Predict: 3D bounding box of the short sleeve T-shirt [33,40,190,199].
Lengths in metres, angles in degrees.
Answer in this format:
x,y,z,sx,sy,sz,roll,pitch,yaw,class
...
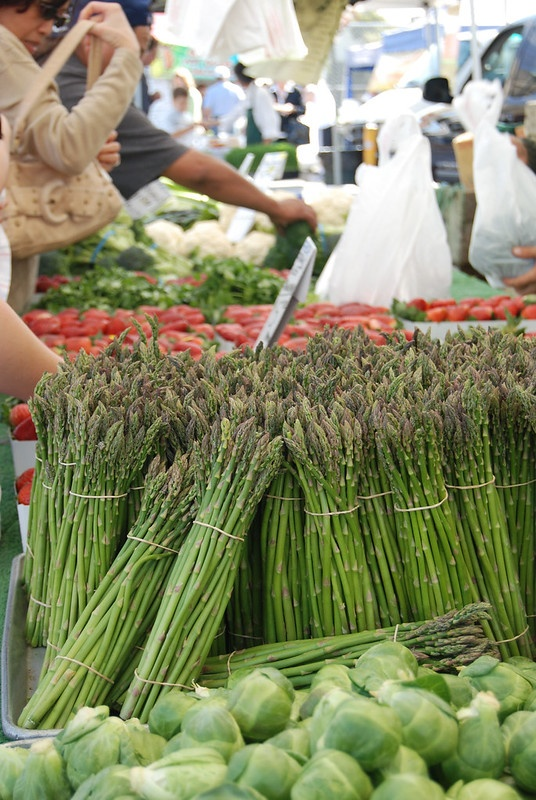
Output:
x,y,z,sx,sy,sz,roll,pitch,yaw,class
-1.036,-1.804,3.474,0.827,0.881,0.235,-33,-42,10,short sleeve T-shirt
